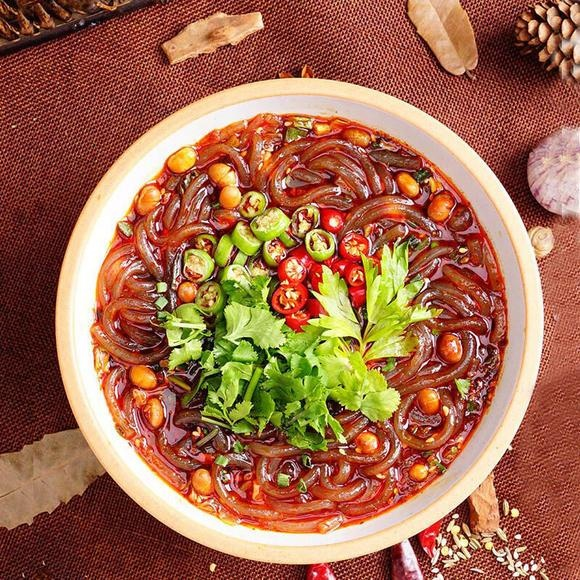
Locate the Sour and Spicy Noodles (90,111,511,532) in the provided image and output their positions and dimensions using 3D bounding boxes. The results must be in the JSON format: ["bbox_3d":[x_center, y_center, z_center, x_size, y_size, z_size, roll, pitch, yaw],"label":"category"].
[{"bbox_3d":[0.033,0.171,3.895,2.187,0.790,2.202,26,80,-24],"label":"Sour and Spicy Noodles"}]

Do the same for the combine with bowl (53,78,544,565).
[{"bbox_3d":[0.067,0.177,3.818,2.598,0.631,2.571,10,83,4],"label":"combine with bowl"}]
